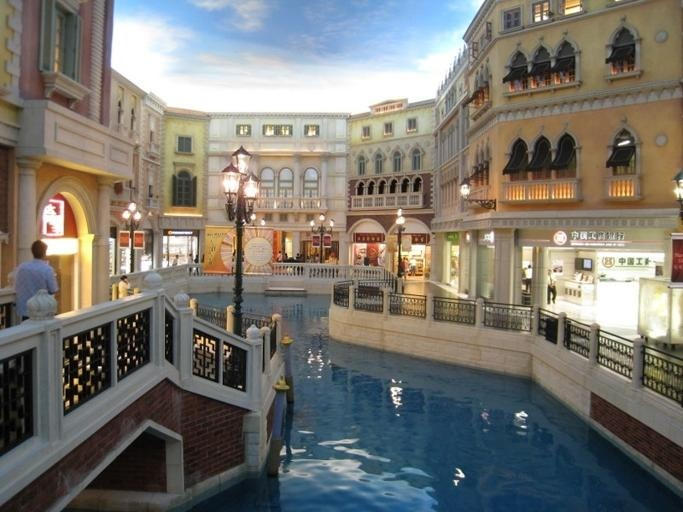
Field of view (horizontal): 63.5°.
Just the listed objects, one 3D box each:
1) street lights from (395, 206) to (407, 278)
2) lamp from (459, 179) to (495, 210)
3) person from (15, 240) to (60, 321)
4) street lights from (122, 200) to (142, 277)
[{"bbox_3d":[2.581,-0.600,24.648,0.455,2.861,0.466,0,1,23],"label":"street lights"},{"bbox_3d":[5.662,-2.575,22.952,1.642,1.754,0.513,5,13,28],"label":"lamp"},{"bbox_3d":[-4.762,0.519,8.624,0.543,1.448,2.413,-4,9,-31],"label":"person"},{"bbox_3d":[-9.122,-0.730,24.042,0.896,3.041,0.924,-5,-13,-4],"label":"street lights"}]
